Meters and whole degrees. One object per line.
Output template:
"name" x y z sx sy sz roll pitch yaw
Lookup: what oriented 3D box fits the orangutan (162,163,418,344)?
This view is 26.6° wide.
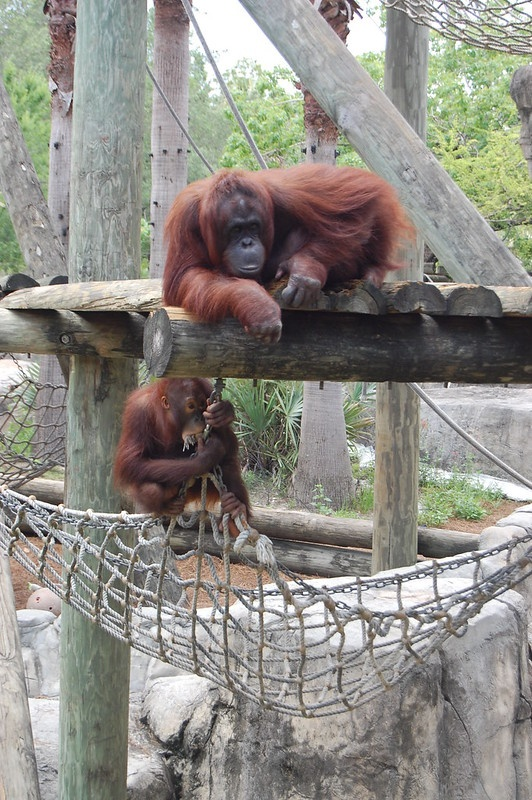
"orangutan" 0.012 -0.345 2.558 0.400 0.388 0.550 6 10 40

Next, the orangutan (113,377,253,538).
"orangutan" -0.198 0.132 2.665 0.325 0.378 0.396 -1 8 -7
